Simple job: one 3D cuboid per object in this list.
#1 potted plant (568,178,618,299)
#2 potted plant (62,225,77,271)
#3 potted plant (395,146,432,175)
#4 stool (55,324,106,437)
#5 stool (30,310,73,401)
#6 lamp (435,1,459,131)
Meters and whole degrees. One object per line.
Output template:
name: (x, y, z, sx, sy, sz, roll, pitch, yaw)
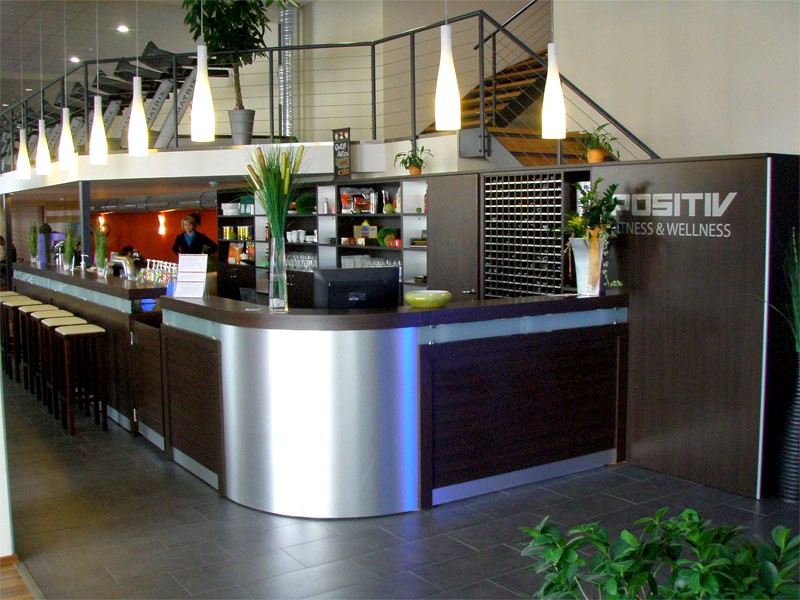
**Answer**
potted plant: (1.486, -0.491, 5.200, 0.365, 0.886, 0.424, 3, 9, 21)
potted plant: (-4.173, -0.664, 8.435, 0.185, 0.531, 1.548, -5, 10, -27)
potted plant: (0.140, -1.634, 7.817, 0.376, 0.268, 0.382, 5, 14, 23)
stool: (-2.943, 0.743, 6.231, 0.412, 0.898, 0.412, -3, -1, -13)
stool: (-3.646, 0.656, 7.026, 0.389, 0.674, 0.338, 3, 0, 38)
lamp: (0.286, -1.379, 4.154, 0.135, 0.646, 0.264, 0, 8, 4)
